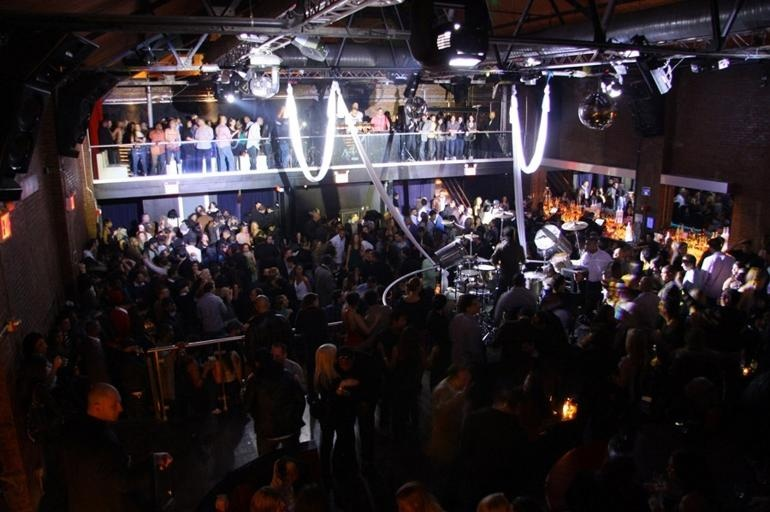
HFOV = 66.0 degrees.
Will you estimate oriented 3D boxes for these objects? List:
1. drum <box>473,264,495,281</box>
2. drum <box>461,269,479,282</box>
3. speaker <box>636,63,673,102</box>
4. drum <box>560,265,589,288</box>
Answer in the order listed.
[{"bbox_3d":[1.991,0.284,11.736,0.316,0.313,0.328,2,20,12],"label":"drum"},{"bbox_3d":[1.674,0.381,11.565,0.254,0.094,0.257,6,19,-2],"label":"drum"},{"bbox_3d":[5.060,-3.342,11.049,0.463,0.622,1.574,3,6,30],"label":"speaker"},{"bbox_3d":[3.658,0.366,11.337,0.445,0.461,0.813,3,1,23],"label":"drum"}]
